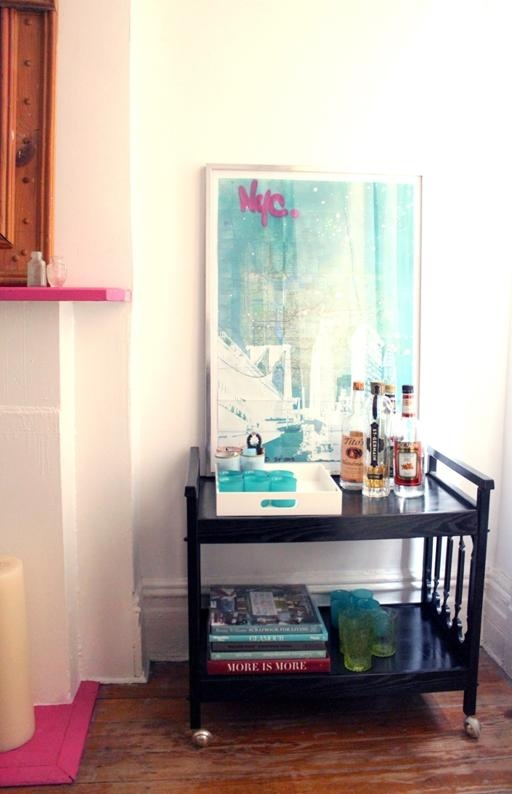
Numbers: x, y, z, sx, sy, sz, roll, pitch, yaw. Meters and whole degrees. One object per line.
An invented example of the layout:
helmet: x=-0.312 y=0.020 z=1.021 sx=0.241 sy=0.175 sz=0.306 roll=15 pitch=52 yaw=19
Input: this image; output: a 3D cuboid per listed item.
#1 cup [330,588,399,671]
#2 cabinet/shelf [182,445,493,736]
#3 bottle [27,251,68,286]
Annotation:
cup: x=0.282 y=0.603 z=1.748 sx=0.094 sy=0.128 sz=0.194 roll=-2 pitch=-6 yaw=1
cabinet/shelf: x=0.198 y=0.470 z=1.809 sx=0.701 sy=0.624 sz=0.437 roll=-1 pitch=8 yaw=-4
bottle: x=-0.516 y=-0.311 z=1.645 sx=0.091 sy=0.096 sz=0.052 roll=-2 pitch=3 yaw=-34
